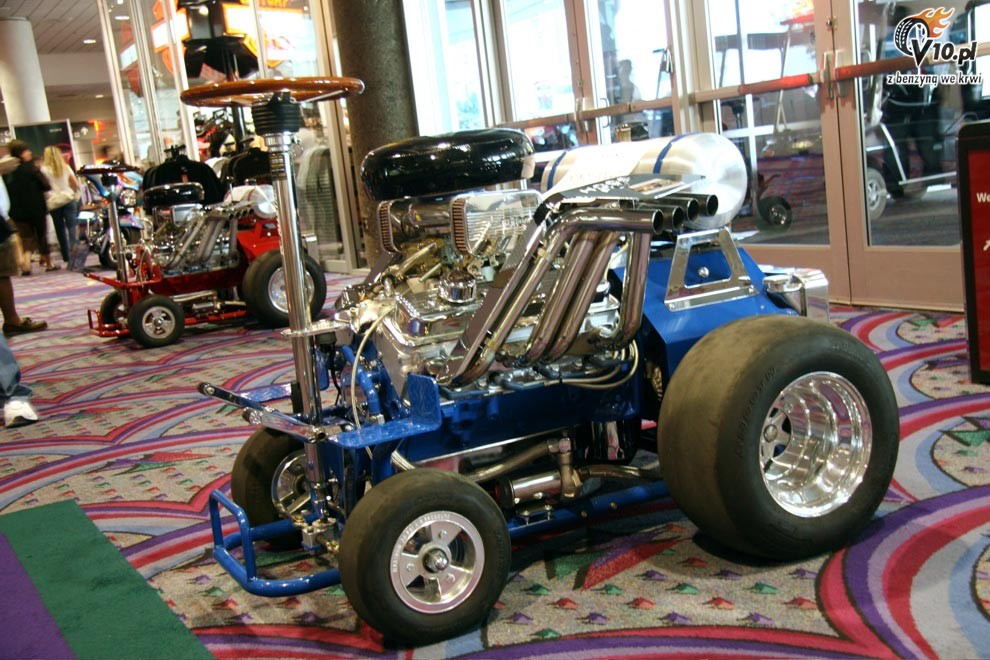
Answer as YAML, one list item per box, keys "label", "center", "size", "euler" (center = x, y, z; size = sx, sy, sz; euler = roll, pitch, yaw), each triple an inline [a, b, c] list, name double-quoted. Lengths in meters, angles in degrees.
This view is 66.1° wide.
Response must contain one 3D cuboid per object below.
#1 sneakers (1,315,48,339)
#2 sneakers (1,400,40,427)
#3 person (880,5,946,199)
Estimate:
- label: "sneakers"
  center: [-4.820, -0.046, 7.884]
  size: [0.468, 0.184, 0.179]
  euler: [-7, 13, -27]
- label: "sneakers"
  center: [-3.020, 0.517, 4.832]
  size: [0.193, 0.147, 0.171]
  euler: [-17, 17, -32]
- label: "person"
  center: [2.677, -1.480, 4.921]
  size: [0.363, 1.213, 0.111]
  euler: [0, 16, 29]
